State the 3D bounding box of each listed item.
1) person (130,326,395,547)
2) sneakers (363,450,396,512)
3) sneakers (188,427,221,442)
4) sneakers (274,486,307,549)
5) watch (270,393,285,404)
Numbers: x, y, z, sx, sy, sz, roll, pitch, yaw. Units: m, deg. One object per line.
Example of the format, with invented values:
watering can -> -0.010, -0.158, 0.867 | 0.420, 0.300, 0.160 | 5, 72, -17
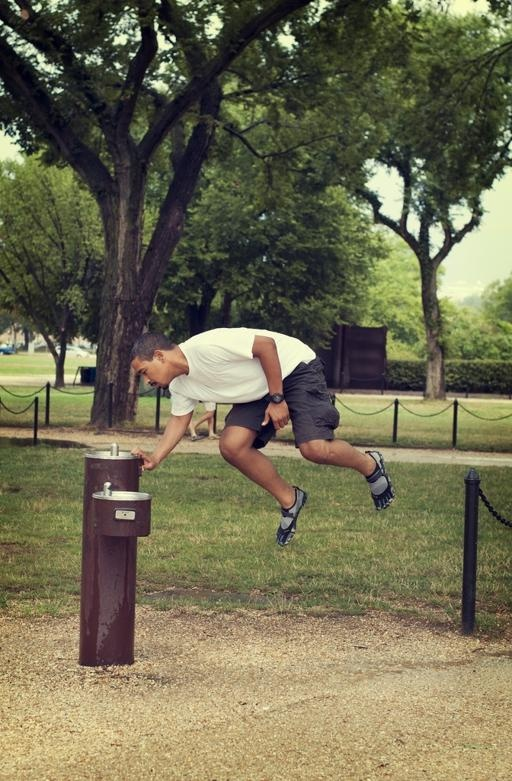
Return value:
person -> -0.012, 0.290, 9.610 | 1.940, 1.507, 0.878 | -5, -10, 0
sneakers -> 0.913, 0.680, 10.021 | 0.212, 0.473, 0.170 | -16, -2, -11
sneakers -> -0.847, 0.667, 20.828 | 0.604, 0.239, 0.183 | 0, 7, 17
sneakers -> 0.240, 0.977, 10.035 | 0.214, 0.495, 0.171 | 10, 6, -37
watch -> 0.147, 0.058, 9.366 | 0.085, 0.054, 0.078 | -2, -2, -6
